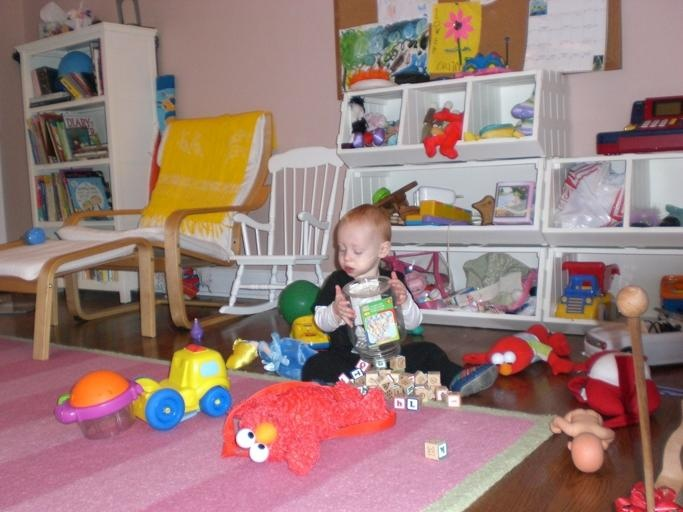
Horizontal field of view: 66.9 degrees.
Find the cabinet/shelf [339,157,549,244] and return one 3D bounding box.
[{"bbox_3d":[0.548,-0.303,2.615,0.977,0.358,0.327,1,4,29],"label":"cabinet/shelf"}]

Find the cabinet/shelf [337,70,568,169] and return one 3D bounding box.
[{"bbox_3d":[0.512,-0.679,2.555,1.023,0.373,0.350,5,12,34],"label":"cabinet/shelf"}]

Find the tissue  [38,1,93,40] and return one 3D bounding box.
[{"bbox_3d":[-1.982,-1.707,3.756,0.441,0.216,0.344,15,30,26],"label":"tissue "}]

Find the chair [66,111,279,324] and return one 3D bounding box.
[{"bbox_3d":[-0.948,-0.244,2.911,1.020,1.161,1.112,6,9,42],"label":"chair"}]

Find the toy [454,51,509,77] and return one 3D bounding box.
[{"bbox_3d":[0.658,-0.897,2.412,0.226,0.115,0.130,1,9,17],"label":"toy"}]

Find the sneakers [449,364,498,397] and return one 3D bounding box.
[{"bbox_3d":[0.426,0.378,1.658,0.152,0.059,0.084,-26,3,-7],"label":"sneakers"}]
